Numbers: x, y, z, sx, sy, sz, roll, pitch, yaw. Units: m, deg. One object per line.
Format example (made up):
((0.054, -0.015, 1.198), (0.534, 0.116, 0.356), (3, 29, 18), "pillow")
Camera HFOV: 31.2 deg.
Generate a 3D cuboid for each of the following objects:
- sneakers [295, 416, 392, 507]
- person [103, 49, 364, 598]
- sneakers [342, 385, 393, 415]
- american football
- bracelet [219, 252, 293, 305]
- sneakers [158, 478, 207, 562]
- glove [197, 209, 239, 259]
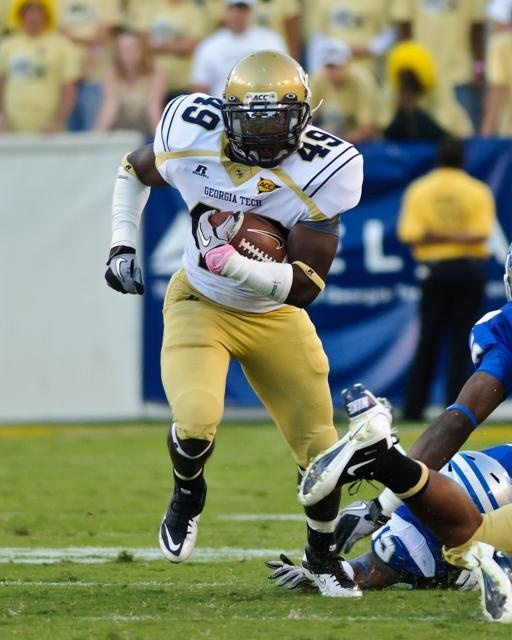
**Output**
((0.180, 0.333, 2.194), (0.182, 0.318, 0.111), (2, 53, -54), "sneakers")
((0.005, 0.048, 2.614), (0.684, 1.496, 0.851), (0, 20, -9), "person")
((0.270, 0.195, 2.205), (0.061, 0.054, 0.155), (57, 13, 13), "sneakers")
((-0.009, -0.206, 2.406), (0.199, 0.129, 0.147), (-2, 15, -10), "american football")
((0.006, -0.108, 2.349), (0.130, 0.121, 0.145), (15, 22, 40), "bracelet")
((-0.207, 0.555, 2.567), (0.110, 0.117, 0.257), (13, 68, 2), "sneakers")
((-0.109, -0.212, 2.395), (0.108, 0.119, 0.090), (-9, 15, -33), "glove")
